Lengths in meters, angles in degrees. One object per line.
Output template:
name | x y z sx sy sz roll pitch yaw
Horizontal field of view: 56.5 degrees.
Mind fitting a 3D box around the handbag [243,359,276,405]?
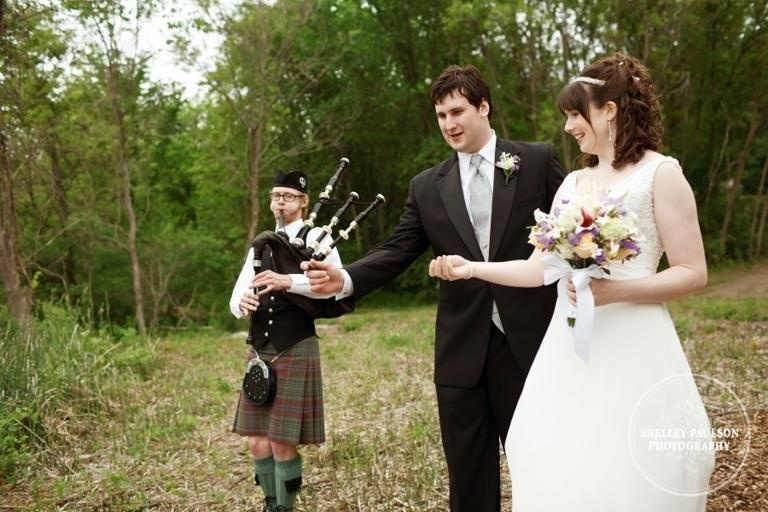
handbag | -1.108 1.133 6.426 0.378 0.511 0.191 -2 -7 23

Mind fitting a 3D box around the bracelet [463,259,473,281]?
bracelet | 0.653 0.111 5.625 0.080 0.103 0.094 -2 -26 -2
